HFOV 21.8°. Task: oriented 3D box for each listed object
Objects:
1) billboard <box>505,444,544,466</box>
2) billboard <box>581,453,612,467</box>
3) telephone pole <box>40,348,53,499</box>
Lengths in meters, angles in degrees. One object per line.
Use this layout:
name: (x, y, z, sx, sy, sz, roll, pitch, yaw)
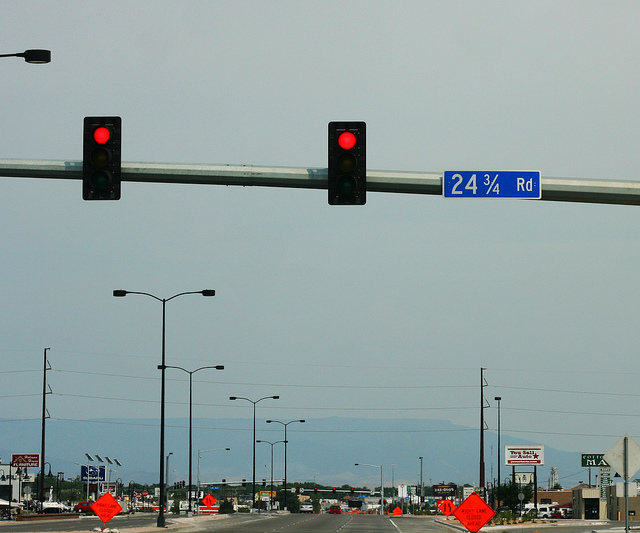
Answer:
billboard: (25.968, 23.814, 212.080, 4.559, 3.158, 8.454, -4, -13, 16)
billboard: (38.842, 27.541, 237.116, 2.985, 2.280, 7.401, -1, -13, 5)
telephone pole: (-27.022, 15.196, 163.830, 0.871, 14.866, 0.952, 5, -8, -35)
